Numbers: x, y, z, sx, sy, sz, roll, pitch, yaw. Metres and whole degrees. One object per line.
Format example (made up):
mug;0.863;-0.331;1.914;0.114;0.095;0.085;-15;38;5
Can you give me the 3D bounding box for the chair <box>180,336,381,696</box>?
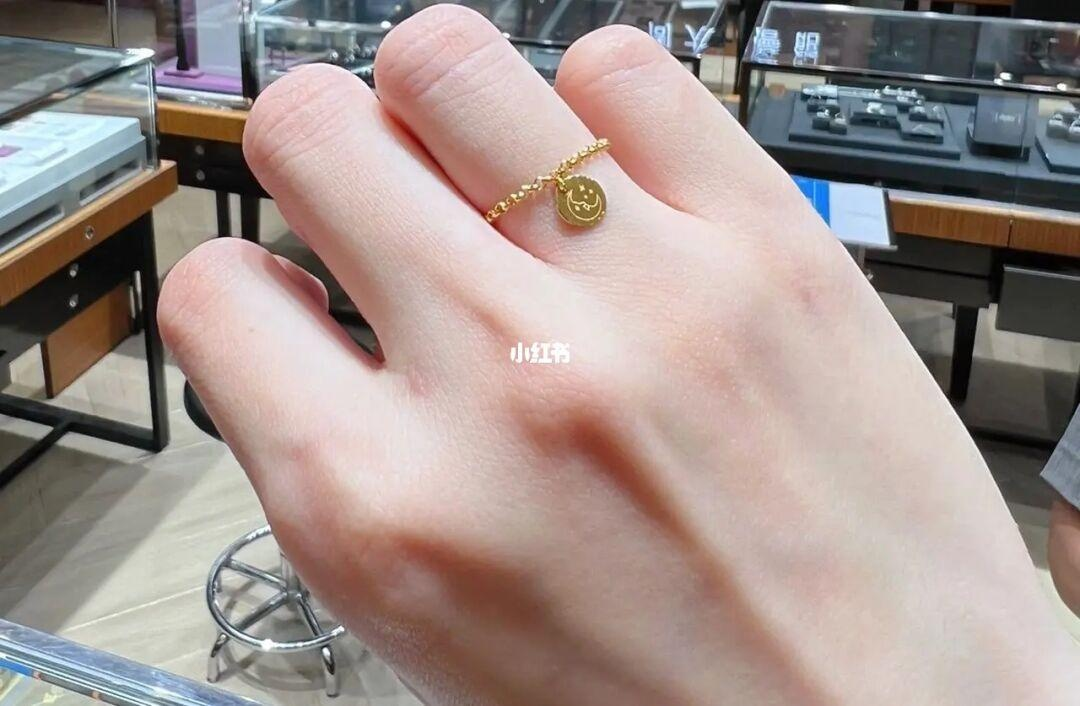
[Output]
chair;-0.665;0.456;2.110;0.374;0.564;0.697;3;75;-22
